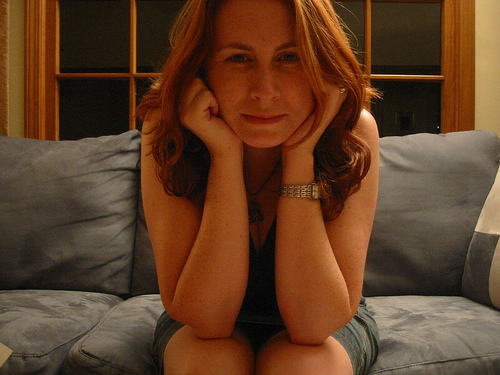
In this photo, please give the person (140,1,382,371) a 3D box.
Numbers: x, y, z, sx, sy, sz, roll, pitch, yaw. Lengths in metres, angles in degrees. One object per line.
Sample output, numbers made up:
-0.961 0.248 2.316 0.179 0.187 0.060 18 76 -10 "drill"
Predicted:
0.048 -0.018 1.738 0.895 1.248 0.577 1 6 -10 "person"
